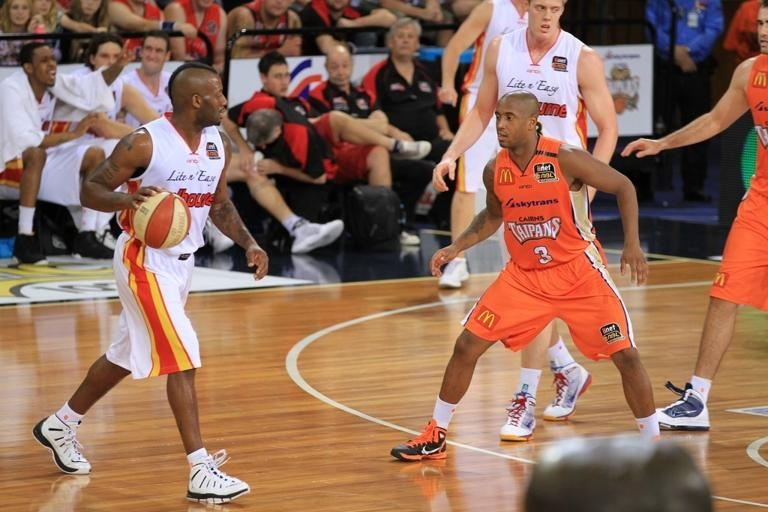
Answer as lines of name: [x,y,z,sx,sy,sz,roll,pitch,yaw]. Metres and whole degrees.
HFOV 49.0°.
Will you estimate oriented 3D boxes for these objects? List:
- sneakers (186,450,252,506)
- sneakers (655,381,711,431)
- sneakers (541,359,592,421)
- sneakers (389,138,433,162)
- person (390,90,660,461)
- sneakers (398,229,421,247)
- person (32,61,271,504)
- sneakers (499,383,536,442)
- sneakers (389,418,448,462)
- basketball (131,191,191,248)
sneakers: [-0.766,1.032,3.983,0.398,0.302,0.147,-1,2,9]
sneakers: [1.659,0.840,4.755,0.347,0.252,0.133,3,-13,2]
sneakers: [1.086,0.810,5.003,0.239,0.349,0.119,41,-6,-30]
sneakers: [0.309,-1.235,9.767,0.515,0.224,0.186,-4,34,0]
person: [0.786,0.117,4.269,1.189,1.838,0.502,2,12,10]
sneakers: [0.297,-0.192,9.917,0.111,0.135,0.309,1,2,-23]
person: [-1.083,0.116,3.978,1.037,2.000,0.816,-2,12,-7]
sneakers: [0.754,0.875,4.668,0.160,0.209,0.457,3,8,22]
sneakers: [0.195,0.950,4.348,0.331,0.203,0.107,8,-2,-31]
basketball: [-1.044,-0.180,3.900,0.234,0.269,0.226,16,-3,-39]
